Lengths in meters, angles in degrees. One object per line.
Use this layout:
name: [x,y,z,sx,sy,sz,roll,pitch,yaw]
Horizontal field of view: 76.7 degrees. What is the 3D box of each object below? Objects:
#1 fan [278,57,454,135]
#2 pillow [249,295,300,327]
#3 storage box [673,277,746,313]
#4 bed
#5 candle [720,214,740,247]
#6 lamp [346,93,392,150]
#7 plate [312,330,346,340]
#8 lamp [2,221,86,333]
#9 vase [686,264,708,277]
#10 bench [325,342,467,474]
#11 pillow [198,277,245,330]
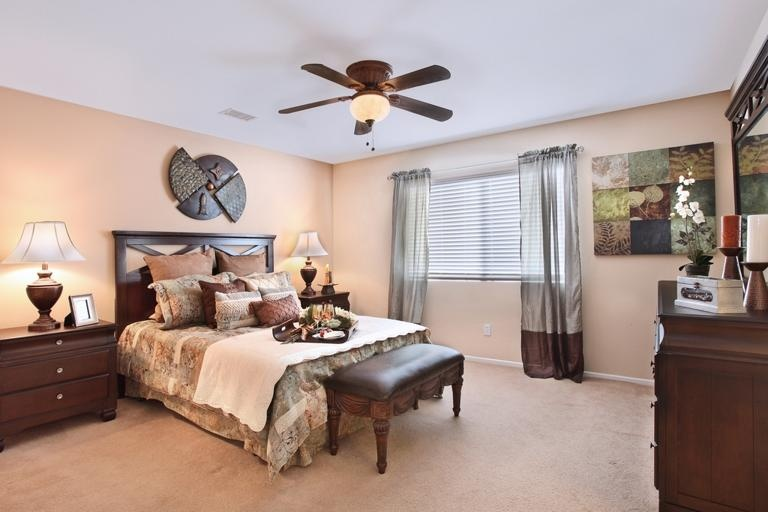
fan: [0.007,-1.397,4.137,0.882,0.303,0.850,0,2,24]
pillow: [-1.128,0.552,5.040,0.465,0.274,0.136,-10,-24,-49]
storage box: [2.166,0.259,3.277,0.253,0.237,0.382,4,-5,-13]
bed: [-1.240,0.661,5.047,2.698,1.728,2.183,0,0,34]
candle: [2.440,-0.172,3.418,0.105,0.224,0.182,-1,3,38]
lamp: [-0.114,-1.201,4.325,0.428,0.453,0.409,1,9,4]
plate: [-0.511,0.721,4.456,0.301,0.067,0.149,-3,2,-11]
lamp: [-3.129,0.176,4.493,0.458,0.809,0.416,-3,3,11]
vase: [2.728,0.119,4.235,0.152,0.111,0.181,-2,2,26]
bench: [0.095,1.294,4.351,0.570,0.832,1.198,-1,3,44]
pillow: [-1.679,0.512,4.978,0.181,0.406,0.475,21,9,22]
